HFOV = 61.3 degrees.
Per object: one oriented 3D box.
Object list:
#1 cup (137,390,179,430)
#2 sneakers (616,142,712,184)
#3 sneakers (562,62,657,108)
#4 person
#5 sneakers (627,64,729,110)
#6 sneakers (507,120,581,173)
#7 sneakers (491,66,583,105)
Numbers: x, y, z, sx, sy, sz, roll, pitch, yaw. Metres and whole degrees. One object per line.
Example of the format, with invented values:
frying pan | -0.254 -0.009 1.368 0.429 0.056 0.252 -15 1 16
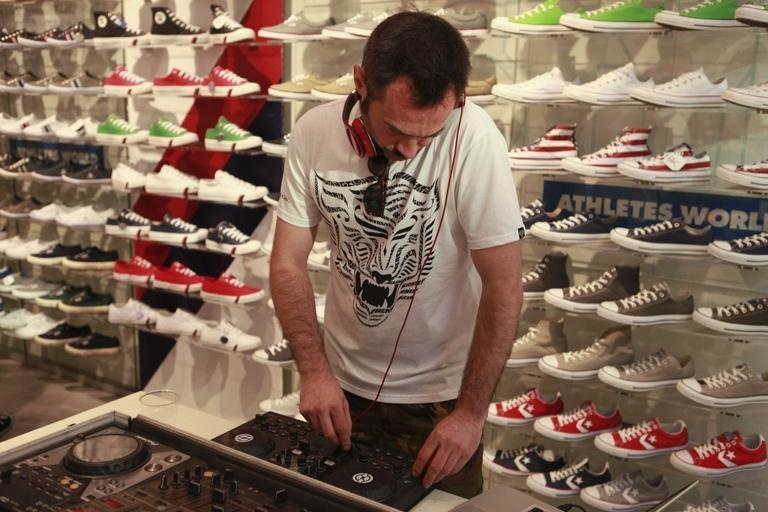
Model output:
cup | -0.712 0.473 2.038 0.104 0.082 0.097 0 10 0
sneakers | 1.279 -0.436 3.034 0.410 0.180 0.173 2 8 0
sneakers | 1.042 -0.792 3.014 0.442 0.207 0.162 1 21 1
person | 0.003 -0.002 2.020 0.835 1.413 0.531 6 13 19
sneakers | 1.255 -0.749 2.892 0.451 0.194 0.169 2 6 3
sneakers | 0.788 -0.517 3.156 0.443 0.275 0.153 5 13 5
sneakers | 0.730 -0.825 3.135 0.408 0.174 0.155 3 12 5
